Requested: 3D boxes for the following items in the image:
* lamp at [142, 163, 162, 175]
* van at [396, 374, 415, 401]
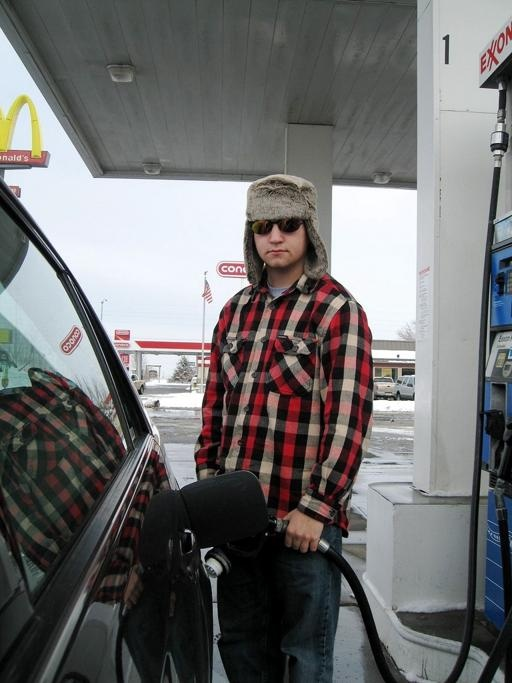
[{"bbox_3d":[-1.631,-2.705,7.009,0.189,0.133,0.153,2,13,38],"label":"lamp"},{"bbox_3d":[10.276,3.282,30.562,1.099,1.484,2.084,-1,1,24],"label":"van"}]
